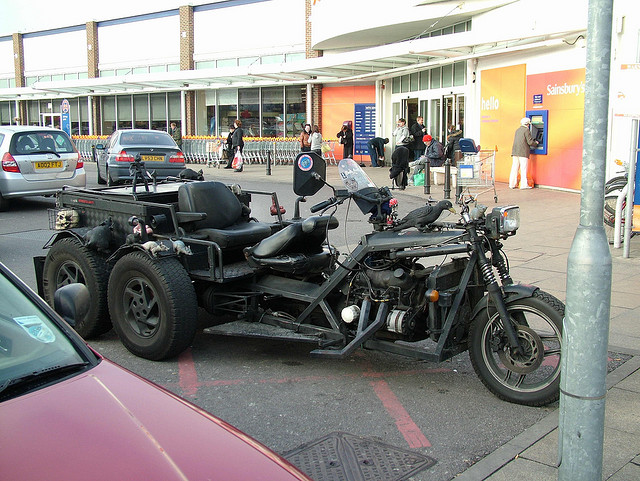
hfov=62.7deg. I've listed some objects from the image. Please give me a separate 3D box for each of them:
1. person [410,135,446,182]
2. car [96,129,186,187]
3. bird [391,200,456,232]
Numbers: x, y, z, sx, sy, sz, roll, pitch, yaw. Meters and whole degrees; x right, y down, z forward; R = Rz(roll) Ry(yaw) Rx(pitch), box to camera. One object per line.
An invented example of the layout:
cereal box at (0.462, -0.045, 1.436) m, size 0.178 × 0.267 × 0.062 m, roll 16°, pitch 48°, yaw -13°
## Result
person at (3.691, -3.007, 18.558) m, size 1.526 × 1.380 × 0.841 m, roll -5°, pitch 8°, yaw -15°
car at (-5.715, -2.776, 17.027) m, size 2.459 × 1.615 × 1.418 m, roll -3°, pitch 13°, yaw -11°
bird at (0.839, -0.216, 4.422) m, size 0.556 × 0.293 × 0.180 m, roll 0°, pitch 13°, yaw 12°
